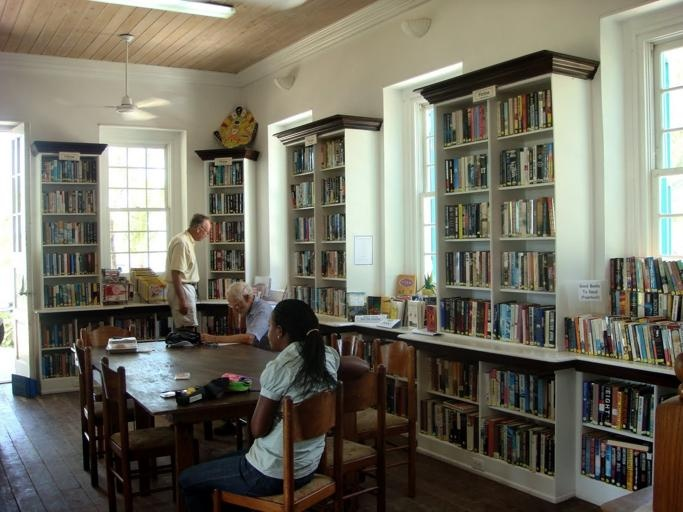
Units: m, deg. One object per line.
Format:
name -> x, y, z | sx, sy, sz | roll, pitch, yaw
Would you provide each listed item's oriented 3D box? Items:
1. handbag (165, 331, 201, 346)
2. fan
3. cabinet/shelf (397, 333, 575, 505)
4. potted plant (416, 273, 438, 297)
handbag -> -1.412, 0.714, 4.991 | 0.204, 0.074, 0.143 | 0, 1, -37
fan -> -2.699, -2.271, 7.302 | 0.844, 0.791, 0.768 | -2, 7, -23
cabinet/shelf -> 1.152, 1.267, 4.283 | 0.406, 0.738, 1.155 | 2, -2, -35
potted plant -> 0.861, 0.295, 5.572 | 0.161, 0.216, 0.211 | 1, 3, 9
